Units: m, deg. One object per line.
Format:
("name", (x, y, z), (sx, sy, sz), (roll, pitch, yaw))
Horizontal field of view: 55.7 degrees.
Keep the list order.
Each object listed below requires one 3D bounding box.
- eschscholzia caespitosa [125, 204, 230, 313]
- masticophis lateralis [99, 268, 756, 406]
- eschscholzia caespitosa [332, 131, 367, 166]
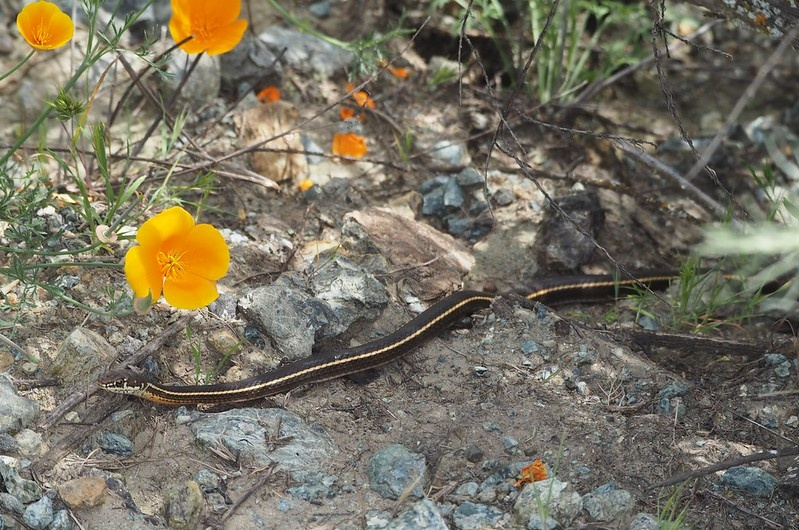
("eschscholzia caespitosa", (-1.488, -0.004, 5.102), (0.546, 0.424, 0.654), (17, 55, 2))
("masticophis lateralis", (0.025, 0.512, 6.210), (4.685, 0.567, 0.410), (-12, 58, -18))
("eschscholzia caespitosa", (-0.477, -1.171, 7.460), (0.357, 0.237, 0.310), (3, 55, -8))
